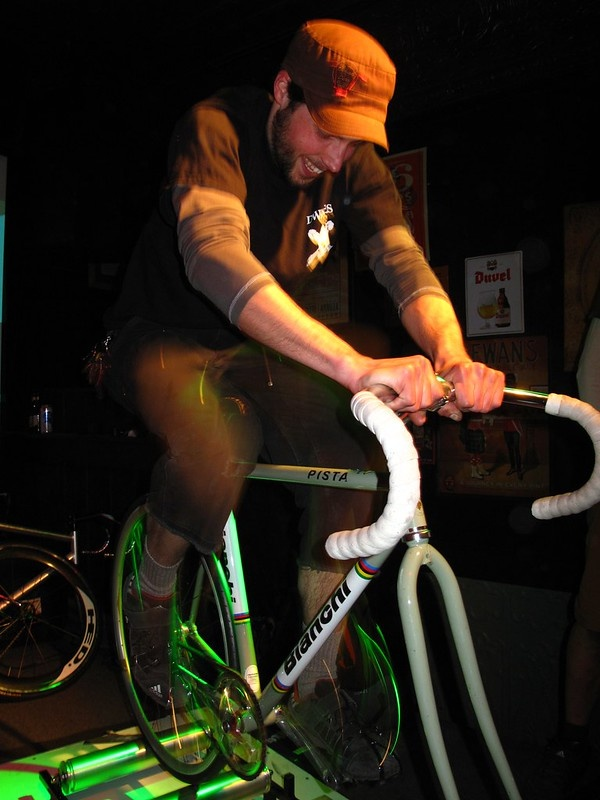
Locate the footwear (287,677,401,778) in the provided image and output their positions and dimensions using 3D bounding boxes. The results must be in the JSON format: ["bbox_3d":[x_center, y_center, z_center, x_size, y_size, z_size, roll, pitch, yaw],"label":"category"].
[{"bbox_3d":[0.109,0.917,1.936,0.276,0.149,0.368,6,3,-31],"label":"footwear"}]

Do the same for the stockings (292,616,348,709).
[{"bbox_3d":[0.032,0.747,1.910,0.107,0.359,0.086,12,33,-10],"label":"stockings"}]

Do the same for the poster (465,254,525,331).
[{"bbox_3d":[1.010,-0.542,3.583,0.326,0.415,0.008,1,8,42],"label":"poster"}]

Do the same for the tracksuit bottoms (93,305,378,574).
[{"bbox_3d":[-0.176,0.052,1.895,0.245,0.583,0.772,-36,38,-29],"label":"tracksuit bottoms"}]

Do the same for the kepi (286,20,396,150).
[{"bbox_3d":[0.102,-0.762,1.724,0.244,0.167,0.327,-6,55,-41],"label":"kepi"}]

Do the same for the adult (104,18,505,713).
[{"bbox_3d":[-0.026,-0.105,1.912,0.773,1.700,1.160,-7,17,-40],"label":"adult"}]

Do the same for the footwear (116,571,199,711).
[{"bbox_3d":[-0.440,0.706,2.152,0.161,0.460,0.202,-6,-15,-17],"label":"footwear"}]
